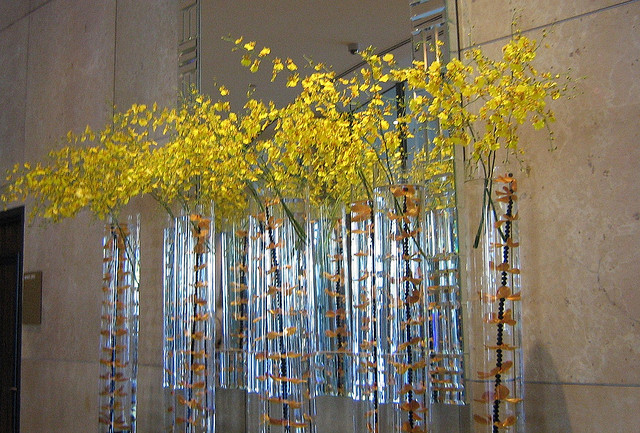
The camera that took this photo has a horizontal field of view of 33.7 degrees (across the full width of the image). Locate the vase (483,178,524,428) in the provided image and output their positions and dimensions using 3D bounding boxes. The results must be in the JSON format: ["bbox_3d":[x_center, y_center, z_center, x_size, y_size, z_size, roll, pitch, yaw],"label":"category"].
[{"bbox_3d":[1.017,0.487,5.951,0.240,1.355,0.261,-2,-12,-2],"label":"vase"}]

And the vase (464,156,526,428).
[{"bbox_3d":[0.983,0.476,6.009,0.368,1.432,0.358,-5,-13,11],"label":"vase"}]

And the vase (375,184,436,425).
[{"bbox_3d":[0.487,0.505,6.022,0.267,1.307,0.250,-4,-12,5],"label":"vase"}]

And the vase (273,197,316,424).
[{"bbox_3d":[-0.158,0.565,6.349,0.191,1.313,0.213,-2,-12,-1],"label":"vase"}]

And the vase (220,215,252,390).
[{"bbox_3d":[-0.567,0.603,6.878,0.170,1.027,0.414,-1,-13,-10],"label":"vase"}]

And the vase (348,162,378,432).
[{"bbox_3d":[0.257,0.470,6.156,0.160,1.533,0.367,-2,-12,-4],"label":"vase"}]
